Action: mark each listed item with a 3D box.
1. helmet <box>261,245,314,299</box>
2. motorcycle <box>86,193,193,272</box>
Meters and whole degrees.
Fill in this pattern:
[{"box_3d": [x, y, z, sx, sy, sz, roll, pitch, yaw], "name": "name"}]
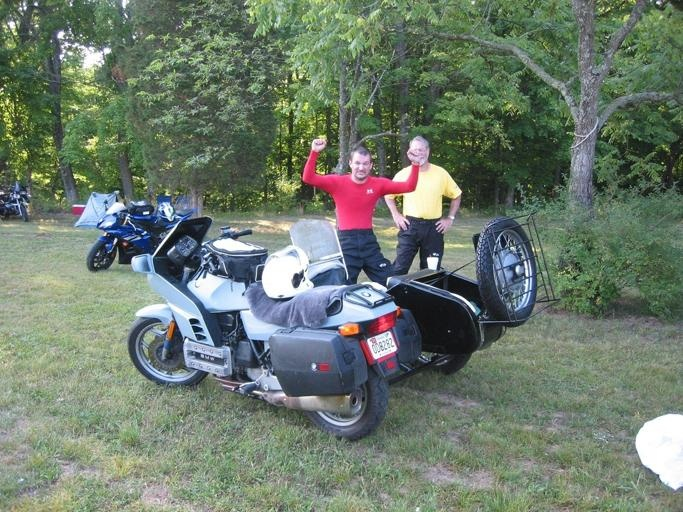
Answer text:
[{"box_3d": [-0.567, 0.172, 6.506, 0.552, 0.547, 0.434, 5, -8, -32], "name": "helmet"}, {"box_3d": [-3.828, -0.472, 12.349, 2.182, 1.331, 0.911, -9, 16, -42], "name": "motorcycle"}]
